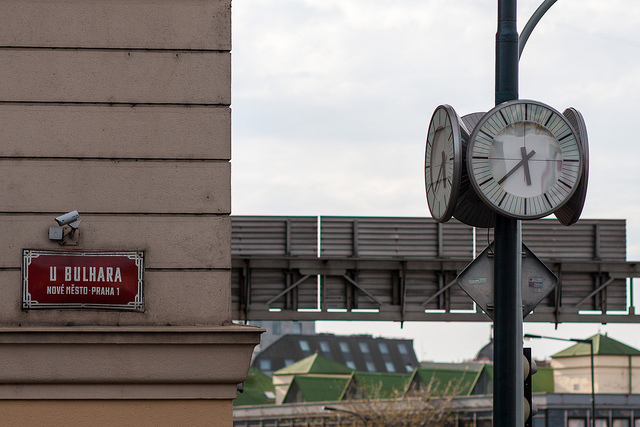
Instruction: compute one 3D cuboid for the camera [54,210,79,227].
[{"bbox_3d":[-6.264,0.076,52.373,0.527,0.291,0.201,-22,-40,-3],"label":"camera"}]
